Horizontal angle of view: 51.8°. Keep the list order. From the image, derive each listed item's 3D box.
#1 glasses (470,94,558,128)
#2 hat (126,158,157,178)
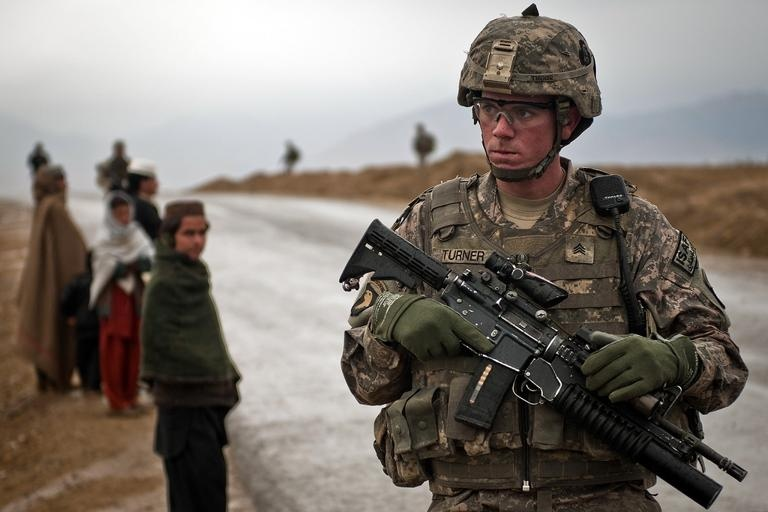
[{"bbox_3d":[0.796,-0.870,4.828,0.480,0.190,0.133,4,11,12],"label":"glasses"},{"bbox_3d":[-2.007,-0.726,6.558,0.221,0.111,0.157,10,11,-15],"label":"hat"}]
